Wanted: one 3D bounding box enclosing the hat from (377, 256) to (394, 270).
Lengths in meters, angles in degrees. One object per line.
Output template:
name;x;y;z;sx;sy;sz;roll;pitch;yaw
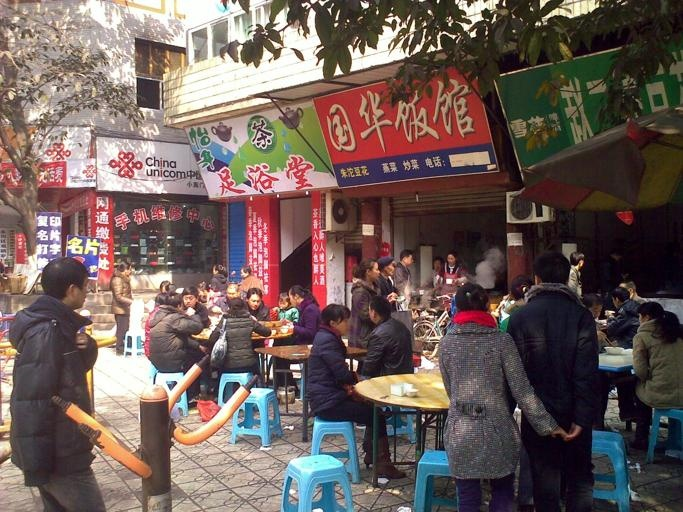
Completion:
hat;0.596;0.122;7.824;0.185;0.063;0.159;-22;14;36

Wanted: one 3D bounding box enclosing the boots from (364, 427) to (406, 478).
boots;0.424;2.052;5.918;0.621;0.490;0.232;-3;-6;34

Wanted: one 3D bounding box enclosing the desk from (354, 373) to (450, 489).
desk;0.649;1.465;5.446;1.021;0.662;1.051;-1;-6;23

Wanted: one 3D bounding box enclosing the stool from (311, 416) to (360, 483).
stool;-0.014;1.951;6.001;0.570;0.619;0.576;-1;-1;1
